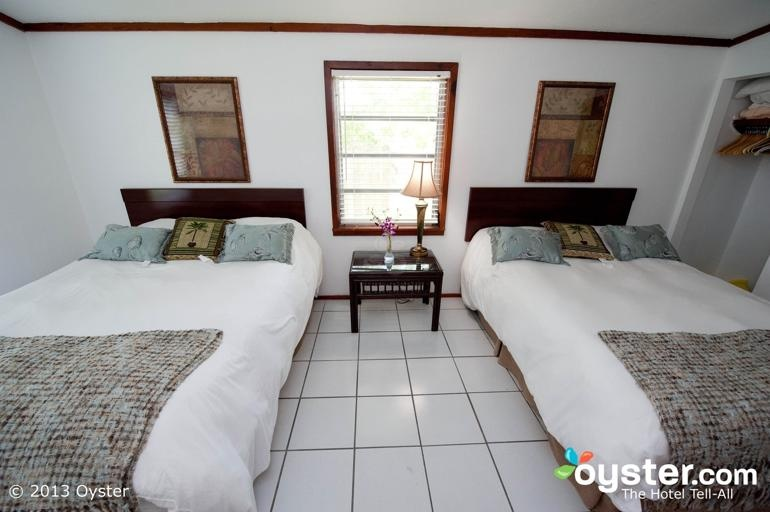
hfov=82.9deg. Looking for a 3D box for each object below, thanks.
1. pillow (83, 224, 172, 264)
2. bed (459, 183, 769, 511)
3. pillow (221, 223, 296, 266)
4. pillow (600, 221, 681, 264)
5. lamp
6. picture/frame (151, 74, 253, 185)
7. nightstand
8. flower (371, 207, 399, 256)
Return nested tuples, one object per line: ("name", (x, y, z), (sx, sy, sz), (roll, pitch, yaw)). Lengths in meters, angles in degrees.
("pillow", (-2.393, -0.147, 4.131), (0.728, 0.271, 0.343), (2, 21, 4))
("bed", (1.971, 0.546, 3.845), (1.850, 1.894, 2.641), (-3, 21, -8))
("pillow", (-1.203, -0.125, 4.057), (0.484, 0.127, 0.416), (1, 56, -1))
("pillow", (2.515, -0.161, 4.353), (0.679, 0.261, 0.371), (0, 21, 0))
("lamp", (0.361, -0.526, 4.527), (0.364, 0.965, 0.439), (2, 22, 6))
("picture/frame", (-1.828, -1.324, 4.337), (1.027, 1.205, 0.050), (-1, 24, -1))
("nightstand", (0.090, 0.353, 4.583), (0.910, 0.610, 0.639), (0, 20, -3))
("flower", (0.018, -0.264, 4.574), (0.247, 0.455, 0.216), (-1, -21, -9))
